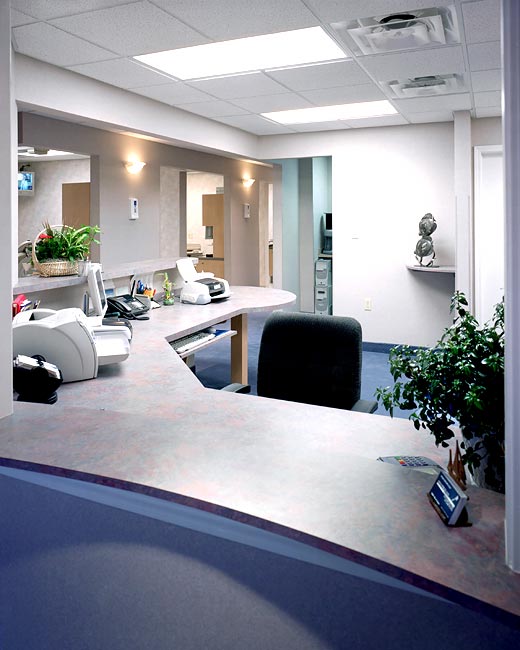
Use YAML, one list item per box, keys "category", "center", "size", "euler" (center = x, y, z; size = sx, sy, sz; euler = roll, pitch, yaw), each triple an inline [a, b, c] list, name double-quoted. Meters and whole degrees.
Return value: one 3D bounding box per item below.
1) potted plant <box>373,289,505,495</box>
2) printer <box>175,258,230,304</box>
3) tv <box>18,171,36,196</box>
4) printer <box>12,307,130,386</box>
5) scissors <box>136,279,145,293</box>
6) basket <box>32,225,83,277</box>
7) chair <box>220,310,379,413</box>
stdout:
- category: "potted plant"
  center: [0.357, 0.133, 0.918]
  size: [0.229, 0.260, 0.235]
  euler: [-18, 8, -26]
- category: "printer"
  center: [-0.596, -0.437, 4.430]
  size: [0.477, 0.355, 0.394]
  euler: [9, 15, 27]
- category: "tv"
  center: [-4.445, -2.727, 8.983]
  size: [0.259, 0.414, 0.340]
  euler: [-2, 5, -21]
- category: "printer"
  center: [-0.821, 0.078, 2.104]
  size: [0.492, 0.283, 0.495]
  euler: [-3, 6, -27]
- category: "scissors"
  center: [-1.031, -0.331, 4.074]
  size: [0.065, 0.116, 0.132]
  euler: [-1, 5, -11]
- category: "basket"
  center: [-1.493, -0.536, 3.542]
  size: [0.366, 0.384, 0.378]
  euler: [-2, 3, -23]
- category: "chair"
  center: [0.187, 0.078, 2.139]
  size: [0.483, 0.593, 0.516]
  euler: [2, 5, 22]
